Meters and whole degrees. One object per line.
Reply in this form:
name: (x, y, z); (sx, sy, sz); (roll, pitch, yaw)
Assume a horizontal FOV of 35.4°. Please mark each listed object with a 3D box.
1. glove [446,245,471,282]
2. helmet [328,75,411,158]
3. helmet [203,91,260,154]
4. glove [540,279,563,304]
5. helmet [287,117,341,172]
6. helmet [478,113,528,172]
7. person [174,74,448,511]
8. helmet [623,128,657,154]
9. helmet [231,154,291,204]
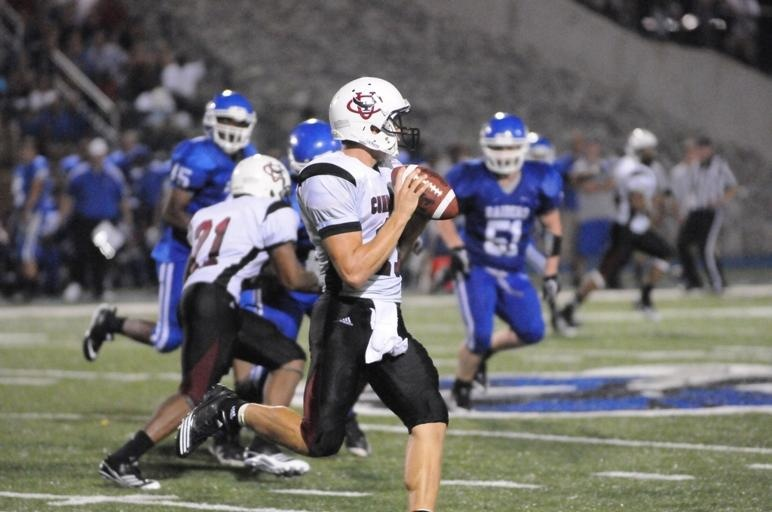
glove: (0.666, 0.046, 10.742); (0.250, 0.375, 0.268); (-1, 3, 33)
helmet: (-0.108, -0.969, 8.468); (0.640, 0.520, 0.452); (-1, 10, -5)
helmet: (-1.299, -1.077, 10.017); (0.429, 0.470, 0.505); (0, 32, -30)
glove: (1.437, 0.283, 10.535); (0.204, 0.196, 0.149); (0, 7, -17)
helmet: (-0.718, -0.937, 10.176); (0.420, 0.463, 0.514); (-5, 10, -25)
helmet: (1.024, -1.026, 10.666); (0.408, 0.415, 0.519); (1, 12, 0)
person: (-0.348, 0.231, 8.516); (1.575, 2.235, 0.604); (1, 0, 2)
helmet: (2.371, -1.077, 11.220); (0.284, 0.263, 0.317); (1, -1, 11)
helmet: (-0.960, -0.609, 9.348); (0.424, 0.334, 0.313); (-18, 13, -26)
